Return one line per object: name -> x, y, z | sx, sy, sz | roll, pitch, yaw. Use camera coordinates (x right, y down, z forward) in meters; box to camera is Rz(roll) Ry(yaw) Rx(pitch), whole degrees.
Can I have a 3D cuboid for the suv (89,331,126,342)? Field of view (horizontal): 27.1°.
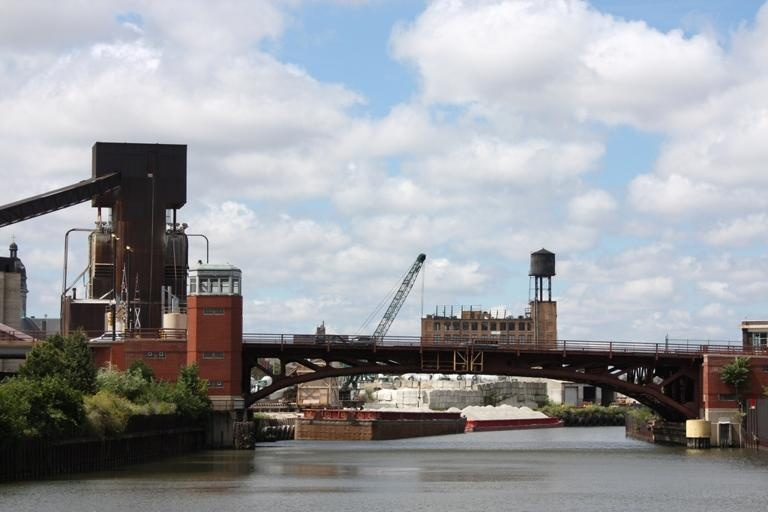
suv -> -34.598, 10.302, 201.321 | 4.085, 1.503, 1.847 | 3, -2, 4
